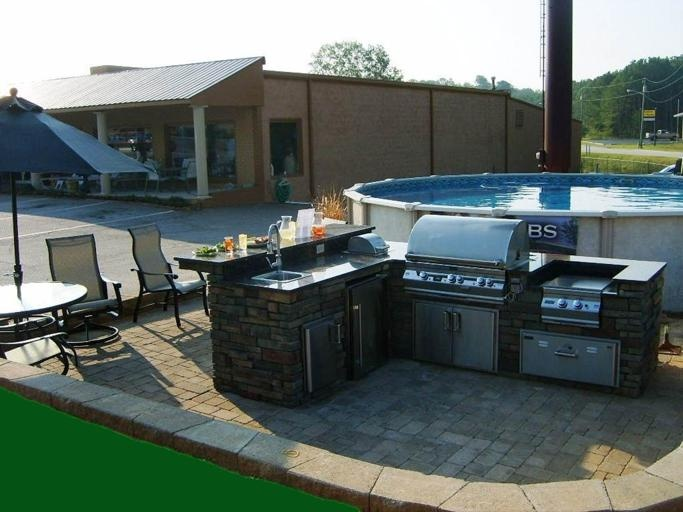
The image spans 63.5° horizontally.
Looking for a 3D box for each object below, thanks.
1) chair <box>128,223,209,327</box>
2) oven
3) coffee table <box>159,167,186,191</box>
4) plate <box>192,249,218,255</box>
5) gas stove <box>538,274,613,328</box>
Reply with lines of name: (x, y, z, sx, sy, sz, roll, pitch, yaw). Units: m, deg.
chair: (-2.629, 0.272, 8.605, 1.076, 1.294, 0.929, 10, 13, 24)
oven: (1.597, 0.004, 6.937, 1.388, 0.792, 1.037, 6, 20, 36)
coffee table: (-7.013, -3.231, 23.062, 1.181, 0.769, 0.920, 13, 22, 35)
plate: (-1.584, -0.051, 6.546, 0.262, 0.072, 0.198, -5, 15, -18)
gas stove: (2.744, 0.541, 6.527, 0.691, 0.451, 0.700, 6, 16, 24)
